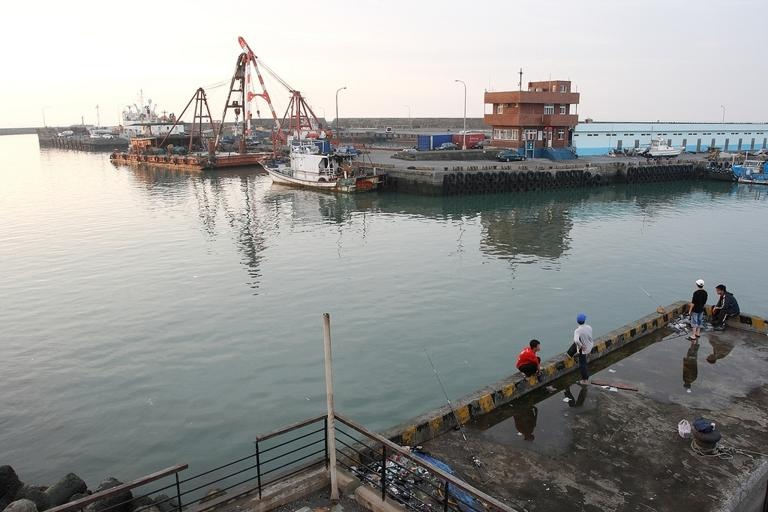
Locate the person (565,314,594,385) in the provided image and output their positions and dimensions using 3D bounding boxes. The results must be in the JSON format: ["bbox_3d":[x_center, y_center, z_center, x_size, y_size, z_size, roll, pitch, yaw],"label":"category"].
[{"bbox_3d":[6.406,2.838,18.871,0.691,2.091,1.393,1,14,18],"label":"person"}]

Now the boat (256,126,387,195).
[{"bbox_3d":[-7.450,-9.737,58.862,13.940,4.751,4.754,11,19,33],"label":"boat"}]

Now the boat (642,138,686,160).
[{"bbox_3d":[34.984,-13.440,73.578,4.414,2.106,3.071,-12,16,-35],"label":"boat"}]
